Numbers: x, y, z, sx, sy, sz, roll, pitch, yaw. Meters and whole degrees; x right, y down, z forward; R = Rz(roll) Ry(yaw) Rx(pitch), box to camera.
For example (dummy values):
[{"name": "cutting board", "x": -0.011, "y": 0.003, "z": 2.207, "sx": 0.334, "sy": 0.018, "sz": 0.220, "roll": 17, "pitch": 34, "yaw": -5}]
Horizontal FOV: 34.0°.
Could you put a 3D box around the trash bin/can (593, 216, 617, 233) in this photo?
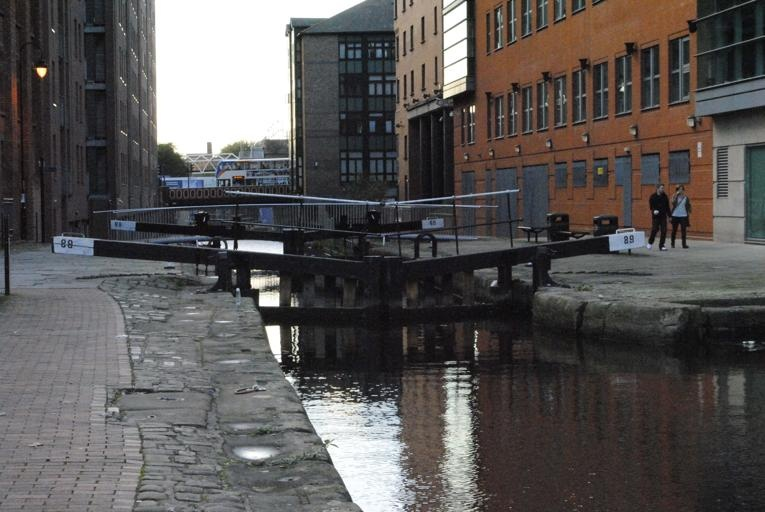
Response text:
[{"name": "trash bin/can", "x": 6.398, "y": -0.887, "z": 36.069, "sx": 0.844, "sy": 0.677, "sz": 0.431, "roll": -3, "pitch": 2, "yaw": -36}]

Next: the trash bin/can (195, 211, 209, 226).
[{"name": "trash bin/can", "x": -5.149, "y": -1.093, "z": 36.129, "sx": 0.500, "sy": 0.428, "sz": 0.471, "roll": 1, "pitch": -5, "yaw": -6}]

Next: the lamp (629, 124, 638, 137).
[{"name": "lamp", "x": 8.784, "y": -4.375, "z": 43.999, "sx": 0.235, "sy": 0.442, "sz": 0.350, "roll": -2, "pitch": 4, "yaw": -16}]

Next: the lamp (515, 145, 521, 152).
[{"name": "lamp", "x": 5.950, "y": -4.717, "z": 55.185, "sx": 0.266, "sy": 0.311, "sz": 0.256, "roll": 2, "pitch": -4, "yaw": -17}]

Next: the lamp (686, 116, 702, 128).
[{"name": "lamp", "x": 9.977, "y": -4.296, "z": 40.369, "sx": 0.236, "sy": 0.384, "sz": 0.496, "roll": -3, "pitch": 5, "yaw": -32}]

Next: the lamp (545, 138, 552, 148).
[{"name": "lamp", "x": 6.826, "y": -4.615, "z": 51.701, "sx": 0.199, "sy": 0.464, "sz": 0.654, "roll": -1, "pitch": 4, "yaw": -10}]

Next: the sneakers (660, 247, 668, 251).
[{"name": "sneakers", "x": 8.273, "y": -0.199, "z": 36.988, "sx": 0.310, "sy": 0.120, "sz": 0.120, "roll": -2, "pitch": 5, "yaw": -24}]

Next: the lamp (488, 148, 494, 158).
[{"name": "lamp", "x": 5.129, "y": -4.815, "z": 59.034, "sx": 0.122, "sy": 0.458, "sz": 0.586, "roll": -2, "pitch": 4, "yaw": -12}]

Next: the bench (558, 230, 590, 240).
[{"name": "bench", "x": 5.783, "y": -0.616, "z": 38.102, "sx": 0.839, "sy": 0.209, "sz": 0.812, "roll": 0, "pitch": -1, "yaw": 7}]

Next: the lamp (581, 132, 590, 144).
[{"name": "lamp", "x": 7.740, "y": -4.499, "z": 47.989, "sx": 0.170, "sy": 0.466, "sz": 0.544, "roll": -1, "pitch": 4, "yaw": -7}]
